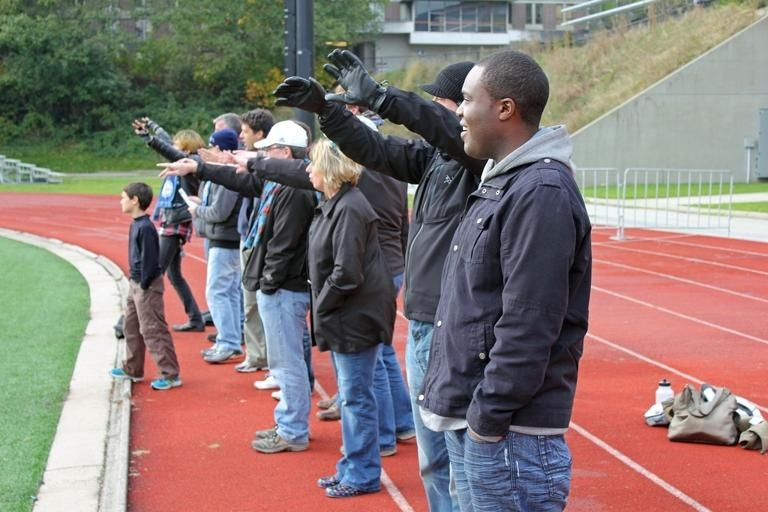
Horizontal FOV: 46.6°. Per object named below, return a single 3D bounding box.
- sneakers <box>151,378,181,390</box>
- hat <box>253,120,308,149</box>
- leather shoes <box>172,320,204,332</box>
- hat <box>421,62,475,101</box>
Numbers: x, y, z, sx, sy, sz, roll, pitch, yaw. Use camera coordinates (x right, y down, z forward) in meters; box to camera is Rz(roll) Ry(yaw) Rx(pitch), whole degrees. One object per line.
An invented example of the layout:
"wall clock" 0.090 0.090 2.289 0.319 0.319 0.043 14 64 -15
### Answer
"sneakers" -2.874 1.688 11.785 0.375 0.200 0.151 5 7 -25
"hat" -1.218 -1.477 10.856 0.485 0.304 0.347 -3 7 -7
"leather shoes" -3.038 1.092 13.919 0.512 0.230 0.199 3 -4 -1
"hat" 0.650 -1.824 9.163 0.477 0.288 0.361 10 26 -7
